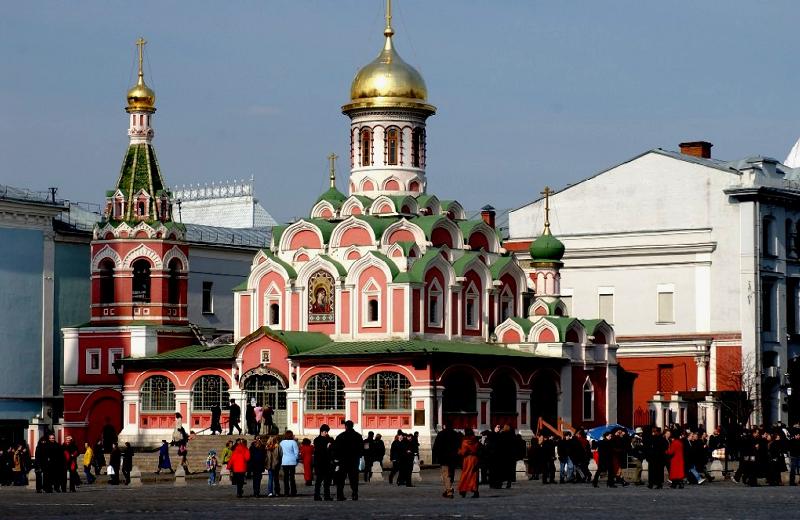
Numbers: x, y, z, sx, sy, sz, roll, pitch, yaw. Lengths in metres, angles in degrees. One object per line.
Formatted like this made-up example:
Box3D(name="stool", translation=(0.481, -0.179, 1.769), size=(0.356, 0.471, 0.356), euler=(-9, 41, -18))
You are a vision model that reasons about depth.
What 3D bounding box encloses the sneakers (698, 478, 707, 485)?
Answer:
Box3D(name="sneakers", translation=(12.658, 9.266, 90.887), size=(0.220, 0.243, 0.247), euler=(-38, -6, -13))
